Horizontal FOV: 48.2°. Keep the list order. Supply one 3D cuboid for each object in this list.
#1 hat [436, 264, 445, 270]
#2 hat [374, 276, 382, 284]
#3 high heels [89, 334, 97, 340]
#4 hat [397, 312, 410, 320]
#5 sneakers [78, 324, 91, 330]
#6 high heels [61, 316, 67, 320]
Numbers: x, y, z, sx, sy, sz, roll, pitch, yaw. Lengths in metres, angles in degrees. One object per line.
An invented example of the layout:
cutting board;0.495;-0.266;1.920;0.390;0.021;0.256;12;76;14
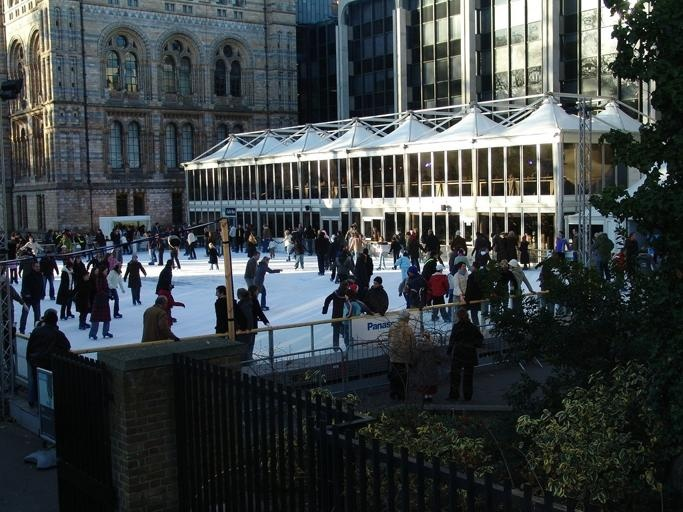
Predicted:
hat;3.755;0.429;29.174;0.421;0.200;0.358;0;2;-4
hat;0.822;0.546;17.266;0.140;0.174;0.193;29;-17;-6
high heels;-6.333;2.056;19.252;0.174;0.147;0.107;-2;5;8
hat;1.104;1.094;14.001;0.129;0.178;0.174;0;4;27
sneakers;-7.094;1.930;20.987;0.118;0.186;0.418;3;7;16
high heels;-8.221;1.836;22.449;0.098;0.062;0.153;1;2;7
